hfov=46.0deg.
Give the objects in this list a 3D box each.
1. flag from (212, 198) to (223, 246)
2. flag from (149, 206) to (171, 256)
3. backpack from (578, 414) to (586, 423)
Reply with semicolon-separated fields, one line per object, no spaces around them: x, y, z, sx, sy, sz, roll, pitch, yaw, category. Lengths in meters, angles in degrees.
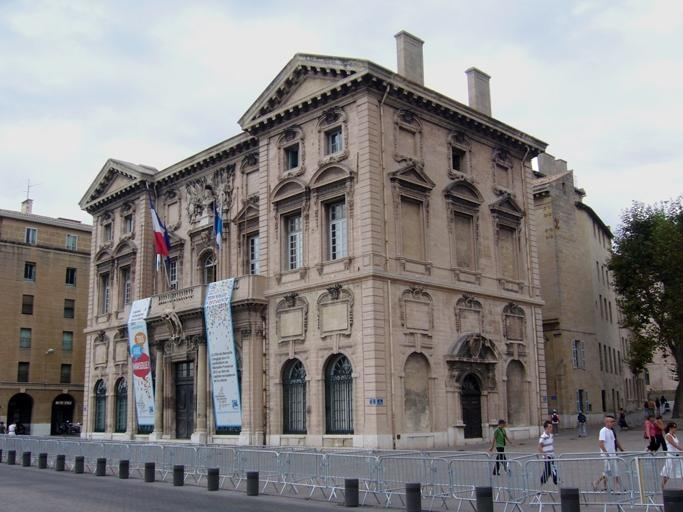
-7.897;-2.080;51.046;0.672;2.780;3.998;-6;11;-9;flag
-12.065;-1.514;53.443;0.966;3.479;2.173;-7;12;-12;flag
14.716;9.954;49.241;0.506;0.307;0.797;23;-2;35;backpack
